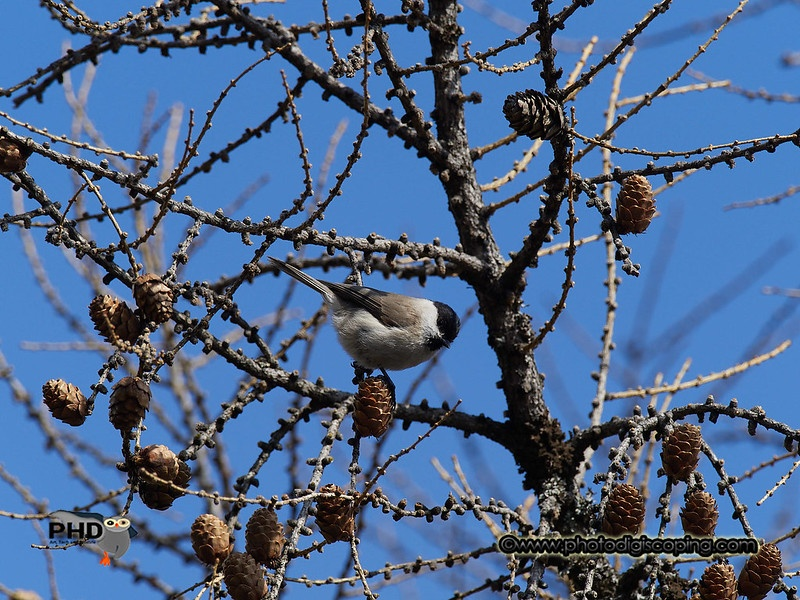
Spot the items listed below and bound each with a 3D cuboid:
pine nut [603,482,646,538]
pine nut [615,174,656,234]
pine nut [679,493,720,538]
[{"bbox_3d":[1.444,1.379,9.394,0.271,0.251,0.355,2,-57,4],"label":"pine nut"},{"bbox_3d":[1.519,-0.583,9.378,0.252,0.473,0.349,-3,-57,8],"label":"pine nut"},{"bbox_3d":[1.917,1.370,9.281,0.226,0.196,0.291,-2,-57,7],"label":"pine nut"}]
